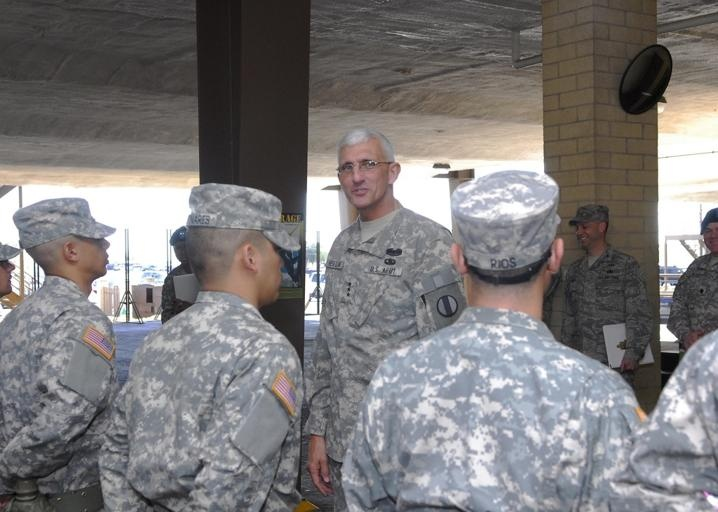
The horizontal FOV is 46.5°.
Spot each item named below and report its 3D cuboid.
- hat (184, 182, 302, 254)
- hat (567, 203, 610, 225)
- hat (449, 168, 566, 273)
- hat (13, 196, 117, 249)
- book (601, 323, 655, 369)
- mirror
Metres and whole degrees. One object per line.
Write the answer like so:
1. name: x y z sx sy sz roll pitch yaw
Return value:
1. hat: -0.563 -0.147 4.037 0.474 0.252 0.347 6 -2 -11
2. hat: 1.940 -0.344 7.049 0.237 0.112 0.181 0 -1 0
3. hat: 0.652 -0.161 3.644 0.382 0.360 0.462 3 44 25
4. hat: -1.666 -0.195 4.700 0.439 0.206 0.326 -11 9 -27
5. book: 2.295 0.774 7.274 0.408 0.420 0.100 -6 -8 3
6. mirror: 2.493 -1.544 7.285 0.552 0.618 0.163 -4 4 -33
